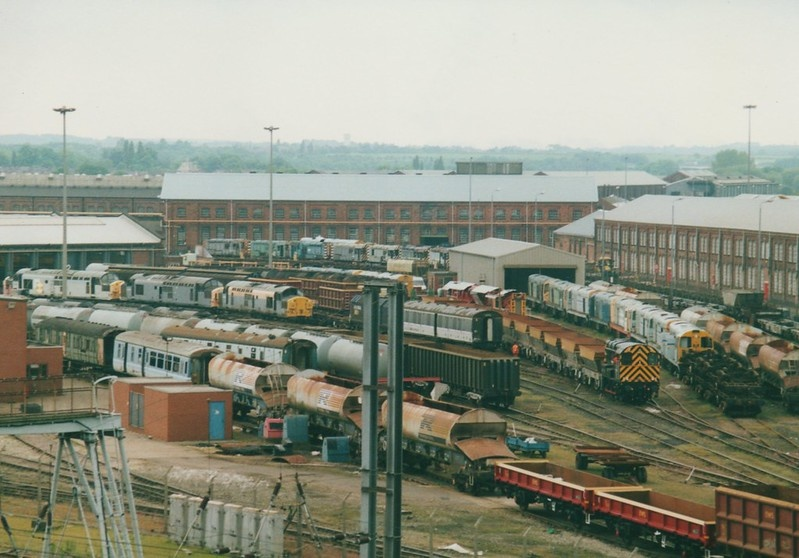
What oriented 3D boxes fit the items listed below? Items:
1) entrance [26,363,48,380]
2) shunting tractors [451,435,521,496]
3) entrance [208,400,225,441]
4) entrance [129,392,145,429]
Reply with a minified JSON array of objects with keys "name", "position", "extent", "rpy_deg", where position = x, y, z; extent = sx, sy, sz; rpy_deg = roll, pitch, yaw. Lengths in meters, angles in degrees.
[{"name":"entrance","position":[-23.196,6.045,103.933],"extent":[1.714,0.998,0.909],"rpy_deg":[0,0,-42]},{"name":"shunting tractors","position":[4.388,10.534,92.478],"extent":[2.534,2.066,3.773],"rpy_deg":[-1,3,-18]},{"name":"entrance","position":[-11.247,8.809,100.001],"extent":[0.261,2.390,1.173],"rpy_deg":[-2,-5,42]},{"name":"entrance","position":[-16.234,8.260,100.797],"extent":[0.257,2.659,2.534],"rpy_deg":[-2,3,-32]}]
